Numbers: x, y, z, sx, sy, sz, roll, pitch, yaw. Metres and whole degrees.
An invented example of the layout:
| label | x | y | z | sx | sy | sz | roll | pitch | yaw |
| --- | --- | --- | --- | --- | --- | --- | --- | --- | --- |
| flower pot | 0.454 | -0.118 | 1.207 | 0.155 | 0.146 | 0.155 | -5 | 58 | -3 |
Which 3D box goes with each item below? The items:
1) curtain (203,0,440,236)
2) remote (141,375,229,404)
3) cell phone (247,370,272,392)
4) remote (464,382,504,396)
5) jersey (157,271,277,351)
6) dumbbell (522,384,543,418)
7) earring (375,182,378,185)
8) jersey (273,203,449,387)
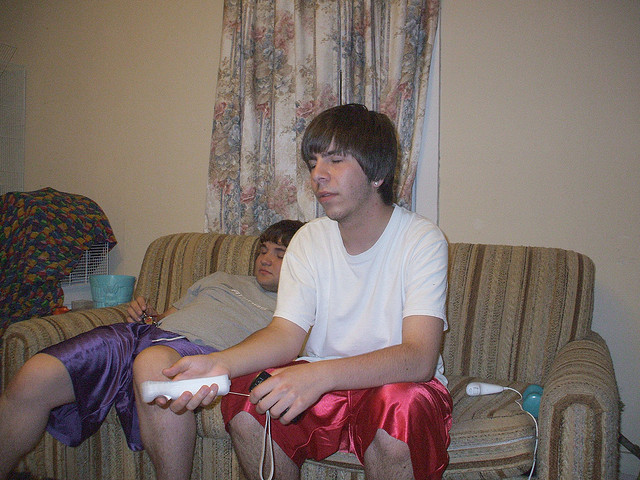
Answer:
| label | x | y | z | sx | sy | sz | roll | pitch | yaw |
| --- | --- | --- | --- | --- | --- | --- | --- | --- | --- |
| curtain | 0.039 | -0.606 | 2.440 | 0.982 | 1.428 | 0.113 | 7 | 6 | 20 |
| remote | -0.406 | 0.431 | 1.553 | 0.269 | 0.094 | 0.094 | -5 | -22 | -10 |
| cell phone | -0.185 | 0.432 | 1.576 | 0.061 | 0.016 | 0.068 | -40 | -10 | 2 |
| remote | 0.609 | 0.557 | 1.925 | 0.134 | 0.055 | 0.043 | 2 | -26 | -8 |
| jersey | -0.401 | 0.286 | 2.178 | 0.354 | 0.135 | 0.301 | -30 | 24 | -36 |
| dumbbell | 0.733 | 0.552 | 1.794 | 0.029 | 0.104 | 0.067 | 34 | -26 | -34 |
| earring | 0.191 | -0.197 | 1.780 | 0.008 | 0.009 | 0.006 | 20 | -1 | 15 |
| jersey | 0.139 | 0.218 | 1.862 | 0.585 | 0.733 | 0.398 | 0 | -5 | 10 |
